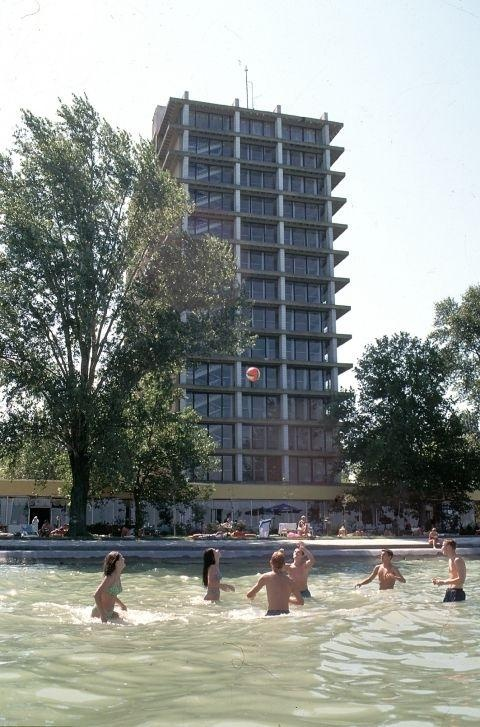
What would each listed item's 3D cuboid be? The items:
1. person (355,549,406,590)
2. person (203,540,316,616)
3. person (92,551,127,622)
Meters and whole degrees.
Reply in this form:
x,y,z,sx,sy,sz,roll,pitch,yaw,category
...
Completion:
x,y,z,sx,sy,sz,roll,pitch,yaw,category
2.530,3.586,13.585,0.621,0.725,2.529,-2,-9,12,person
0.279,2.919,10.745,1.495,0.968,0.962,1,-7,-9,person
-1.695,2.894,10.185,0.445,0.846,1.332,2,-9,-9,person
